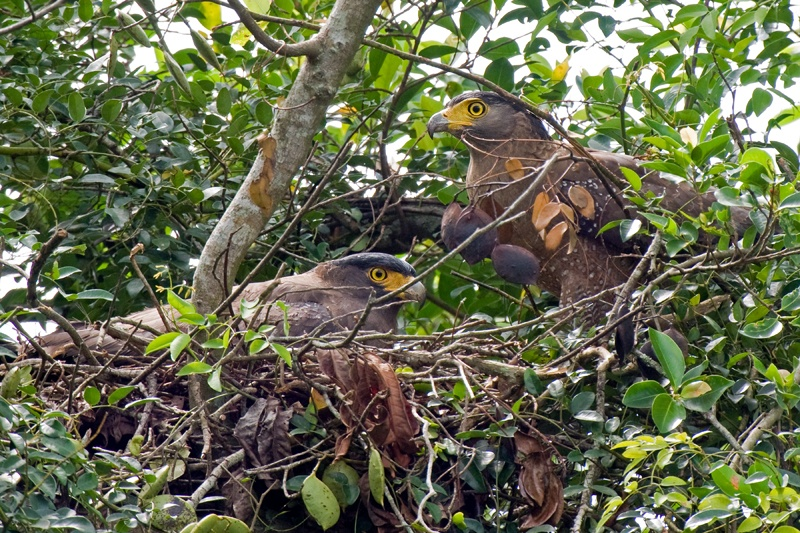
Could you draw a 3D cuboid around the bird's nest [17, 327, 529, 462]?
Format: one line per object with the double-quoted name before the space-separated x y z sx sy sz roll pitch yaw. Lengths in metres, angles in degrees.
"bird's nest" -0.156 0.607 5.608 0.597 0.499 0.225 23 -19 1
